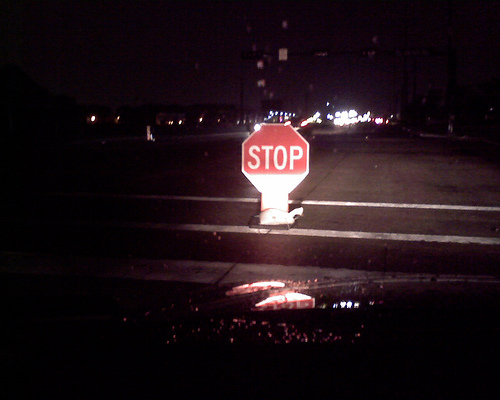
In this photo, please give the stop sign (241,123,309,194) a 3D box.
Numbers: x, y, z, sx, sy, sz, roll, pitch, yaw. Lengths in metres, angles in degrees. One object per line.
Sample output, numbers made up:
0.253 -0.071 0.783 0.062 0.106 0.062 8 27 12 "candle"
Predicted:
0.448 -0.780 9.461 1.216 1.277 0.834 1 -8 -2 "stop sign"
